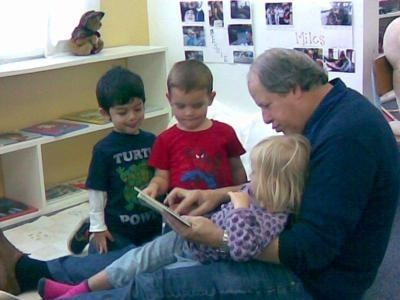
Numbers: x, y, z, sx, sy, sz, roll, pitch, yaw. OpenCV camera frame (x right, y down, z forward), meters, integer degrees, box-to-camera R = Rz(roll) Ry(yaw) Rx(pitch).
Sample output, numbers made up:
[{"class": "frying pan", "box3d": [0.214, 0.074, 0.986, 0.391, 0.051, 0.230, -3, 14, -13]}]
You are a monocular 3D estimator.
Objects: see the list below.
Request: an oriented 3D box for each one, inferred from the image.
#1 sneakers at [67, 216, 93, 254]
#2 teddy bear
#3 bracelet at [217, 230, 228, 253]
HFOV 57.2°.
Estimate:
[{"class": "sneakers", "box3d": [-0.649, 0.465, 1.994, 0.069, 0.195, 0.109, 0, -24, 29]}, {"class": "teddy bear", "box3d": [-0.847, -0.829, 2.623, 0.293, 0.324, 0.229, 7, 12, 10]}, {"class": "bracelet", "box3d": [0.078, 0.312, 1.249, 0.043, 0.066, 0.064, 1, 40, -2]}]
